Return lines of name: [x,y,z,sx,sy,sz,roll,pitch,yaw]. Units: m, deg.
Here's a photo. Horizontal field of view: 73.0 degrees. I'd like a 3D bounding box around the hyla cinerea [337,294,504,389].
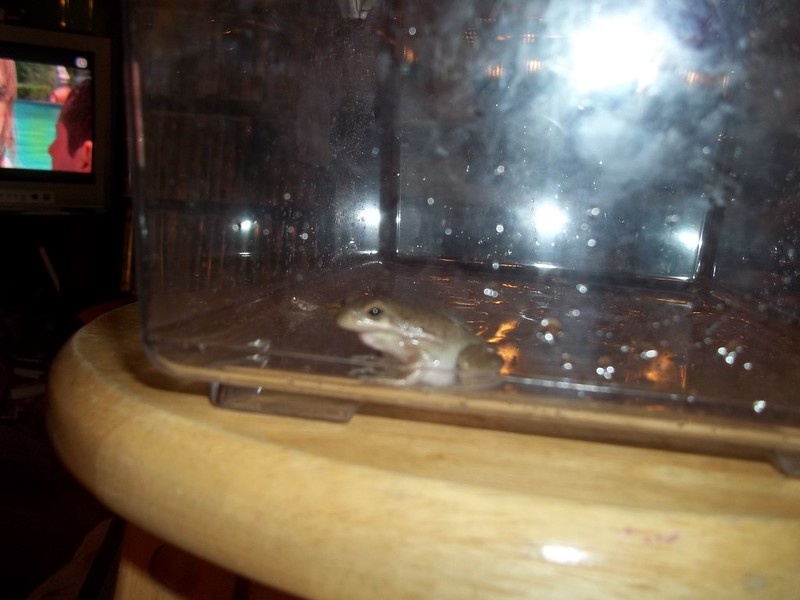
hyla cinerea: [0.017,0.020,0.463,0.101,0.041,0.076,12,12,12]
